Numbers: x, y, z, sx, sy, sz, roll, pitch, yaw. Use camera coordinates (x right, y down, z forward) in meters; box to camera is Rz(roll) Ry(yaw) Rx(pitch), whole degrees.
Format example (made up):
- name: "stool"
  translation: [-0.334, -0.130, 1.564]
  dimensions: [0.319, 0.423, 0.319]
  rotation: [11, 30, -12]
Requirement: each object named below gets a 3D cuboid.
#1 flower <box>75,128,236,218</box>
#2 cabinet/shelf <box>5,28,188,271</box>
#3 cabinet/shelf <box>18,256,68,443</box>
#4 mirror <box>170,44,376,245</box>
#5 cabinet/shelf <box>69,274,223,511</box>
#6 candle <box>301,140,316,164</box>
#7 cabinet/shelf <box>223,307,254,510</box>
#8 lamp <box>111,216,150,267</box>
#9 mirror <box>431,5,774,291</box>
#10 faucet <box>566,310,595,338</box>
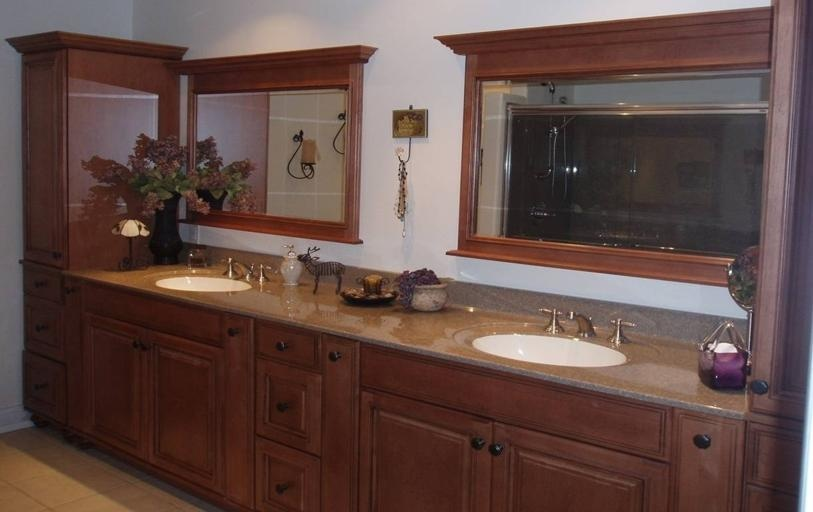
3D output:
- name: "flower"
  translation: [-1.647, -0.532, 4.246]
  dimensions: [0.822, 0.390, 0.586]
  rotation: [-9, 45, -28]
- name: "cabinet/shelf"
  translation: [-2.084, -0.703, 4.274]
  dimensions: [1.045, 1.509, 0.502]
  rotation: [-3, 12, -20]
- name: "cabinet/shelf"
  translation: [-2.446, 0.582, 4.253]
  dimensions: [0.563, 1.047, 0.167]
  rotation: [10, 14, 39]
- name: "mirror"
  translation: [-0.803, -0.705, 3.980]
  dimensions: [1.416, 1.031, 0.149]
  rotation: [4, 4, 29]
- name: "cabinet/shelf"
  translation: [-1.508, 0.807, 3.703]
  dimensions: [1.329, 0.927, 0.515]
  rotation: [7, 5, 35]
- name: "candle"
  translation: [-0.590, -0.639, 3.842]
  dimensions: [0.109, 0.152, 0.019]
  rotation: [6, 12, 23]
- name: "cabinet/shelf"
  translation: [-0.888, 0.822, 3.359]
  dimensions: [0.260, 1.008, 0.128]
  rotation: [10, 15, 40]
- name: "lamp"
  translation: [-1.851, -0.096, 4.254]
  dimensions: [0.220, 0.321, 0.315]
  rotation: [-3, 12, -21]
- name: "mirror"
  translation: [1.010, -0.542, 3.081]
  dimensions: [1.607, 1.066, 0.173]
  rotation: [3, 4, 29]
- name: "faucet"
  translation: [0.862, 0.341, 3.123]
  dimensions: [0.153, 0.106, 0.091]
  rotation: [1, 9, 22]
